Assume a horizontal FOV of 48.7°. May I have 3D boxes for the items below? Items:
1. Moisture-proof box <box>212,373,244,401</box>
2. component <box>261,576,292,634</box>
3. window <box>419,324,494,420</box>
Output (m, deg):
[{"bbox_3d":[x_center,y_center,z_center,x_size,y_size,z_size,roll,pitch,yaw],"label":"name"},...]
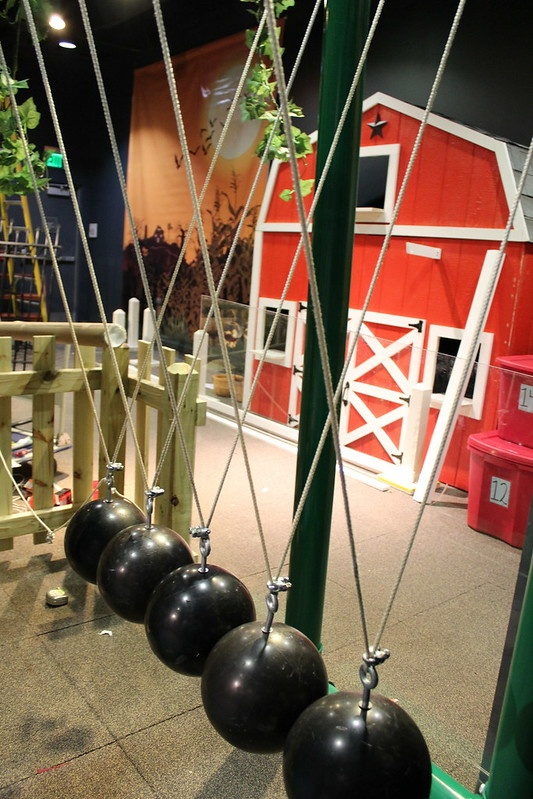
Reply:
[{"bbox_3d":[-0.350,-0.133,4.694,0.284,0.169,0.284,-10,24,-29],"label":"Moisture-proof box"},{"bbox_3d":[0.009,0.243,0.692,0.027,0.069,0.026,4,14,-18],"label":"component"},{"bbox_3d":[1.051,-0.084,3.213,0.208,0.429,0.361,-6,22,-37],"label":"window"}]
